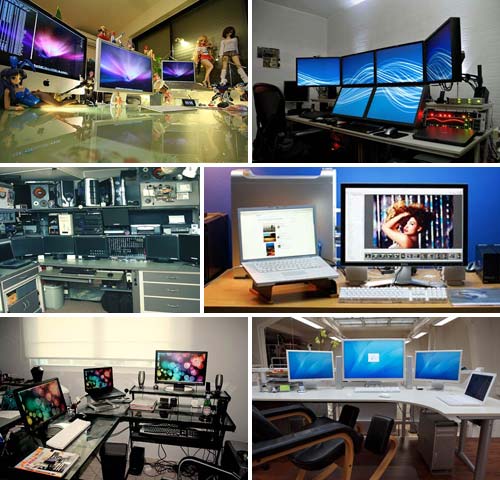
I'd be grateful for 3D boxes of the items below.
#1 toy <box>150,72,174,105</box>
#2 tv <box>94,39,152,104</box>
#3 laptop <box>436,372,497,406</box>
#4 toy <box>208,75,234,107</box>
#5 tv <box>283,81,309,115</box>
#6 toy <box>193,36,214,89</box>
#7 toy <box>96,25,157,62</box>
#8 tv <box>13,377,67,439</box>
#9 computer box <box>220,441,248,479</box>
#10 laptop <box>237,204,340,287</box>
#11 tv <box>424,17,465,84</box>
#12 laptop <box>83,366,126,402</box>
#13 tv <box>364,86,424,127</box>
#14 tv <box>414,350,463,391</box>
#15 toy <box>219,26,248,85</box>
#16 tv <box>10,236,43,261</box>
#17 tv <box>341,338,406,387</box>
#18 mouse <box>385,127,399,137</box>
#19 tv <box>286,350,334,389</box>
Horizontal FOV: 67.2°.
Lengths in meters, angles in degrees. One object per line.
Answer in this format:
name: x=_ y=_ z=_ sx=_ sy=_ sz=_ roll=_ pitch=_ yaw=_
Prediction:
toy: x=-0.689 y=-1.188 z=2.921 sx=0.138 sy=0.316 sz=0.408 roll=-3 pitch=8 yaw=-14
tv: x=-0.901 y=-1.157 z=2.595 sx=0.051 sy=0.348 sz=0.545 roll=3 pitch=4 yaw=27
laptop: x=1.330 y=0.924 z=2.313 sx=0.224 sy=0.177 sz=0.271 roll=0 pitch=-4 yaw=-1
toy: x=-0.194 y=-1.053 z=2.678 sx=0.224 sy=0.255 sz=0.155 roll=3 pitch=2 yaw=2
tv: x=0.234 y=-0.754 z=1.973 sx=0.124 sy=0.180 sz=0.064 roll=-4 pitch=17 yaw=-12
toy: x=-0.394 y=-1.479 z=3.128 sx=0.141 sy=0.477 sz=0.113 roll=-7 pitch=-12 yaw=-5
toy: x=-0.904 y=-1.341 z=2.623 sx=0.407 sy=0.142 sz=0.141 roll=42 pitch=40 yaw=17
tv: x=-1.249 y=1.006 z=2.219 sx=0.056 sy=0.272 sz=0.261 roll=-11 pitch=14 yaw=13
computer box: x=-0.099 y=1.354 z=2.330 sx=0.113 sy=0.164 sz=0.231 roll=0 pitch=17 yaw=-3
laptop: x=0.152 y=-0.002 z=1.601 sx=0.428 sy=0.301 sz=0.386 roll=-6 pitch=7 yaw=-28
tv: x=0.900 y=-0.865 z=1.730 sx=0.091 sy=0.298 sz=0.257 roll=-6 pitch=15 yaw=-9
laptop: x=-1.027 y=0.989 z=2.620 sx=0.230 sy=0.188 sz=0.194 roll=9 pitch=-16 yaw=-43
tv: x=0.757 y=-0.748 z=1.972 sx=0.296 sy=0.090 sz=0.374 roll=14 pitch=58 yaw=31
tv: x=1.301 y=0.898 z=2.594 sx=0.251 sy=0.217 sz=0.061 roll=1 pitch=-4 yaw=10
toy: x=-0.133 y=-1.372 z=2.816 sx=0.180 sy=0.486 sz=0.106 roll=-5 pitch=-9 yaw=3
tv: x=-1.353 y=0.045 z=2.267 sx=0.126 sy=0.106 sz=0.036 roll=0 pitch=5 yaw=-2
tv: x=0.827 y=0.815 z=2.531 sx=0.303 sy=0.230 sz=0.013 roll=0 pitch=-4 yaw=3
mouse: x=0.681 y=-0.520 z=1.806 sx=0.047 sy=0.020 sz=0.069 roll=5 pitch=27 yaw=15
tv: x=0.394 y=0.881 z=2.568 sx=0.230 sy=0.194 sz=0.066 roll=0 pitch=-9 yaw=-5
